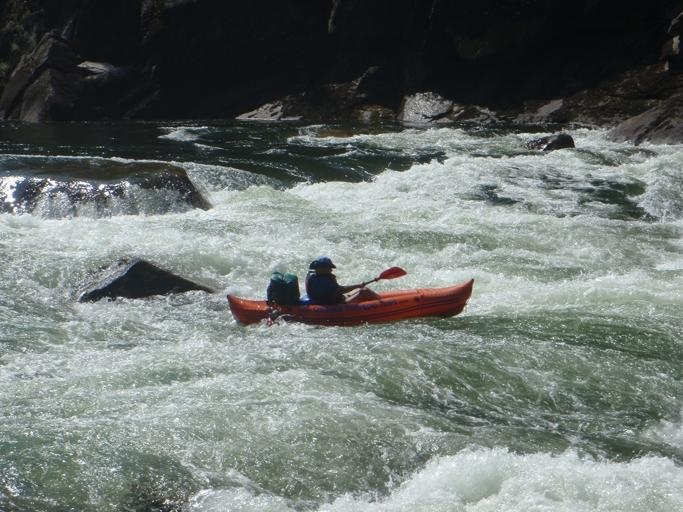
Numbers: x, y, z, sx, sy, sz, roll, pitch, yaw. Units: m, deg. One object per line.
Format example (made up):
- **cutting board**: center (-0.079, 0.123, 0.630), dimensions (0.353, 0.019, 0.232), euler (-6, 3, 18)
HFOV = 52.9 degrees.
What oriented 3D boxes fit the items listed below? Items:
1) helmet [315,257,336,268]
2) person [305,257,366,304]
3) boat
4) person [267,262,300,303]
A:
- **helmet**: center (-0.238, 0.095, 10.015), dimensions (0.258, 0.158, 0.216), euler (0, 7, 1)
- **person**: center (-0.138, 0.362, 10.083), dimensions (0.765, 0.703, 0.316), euler (0, 9, -2)
- **boat**: center (0.292, 0.773, 10.214), dimensions (4.052, 0.473, 1.052), euler (-3, 8, 1)
- **person**: center (-0.896, 0.432, 10.463), dimensions (0.726, 0.674, 0.427), euler (-3, -22, -5)
